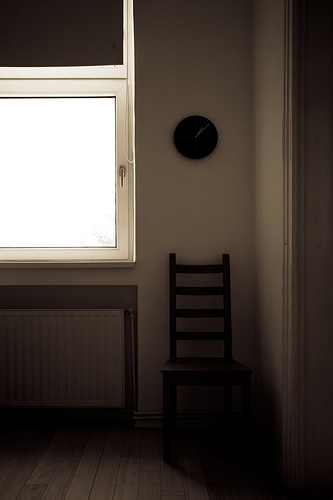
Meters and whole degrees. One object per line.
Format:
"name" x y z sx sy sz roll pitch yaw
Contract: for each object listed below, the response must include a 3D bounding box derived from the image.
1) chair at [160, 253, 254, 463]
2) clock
"chair" 0.192 0.481 2.144 0.394 0.921 0.547 0 1 6
"clock" 0.146 -0.610 2.379 0.156 0.239 0.014 1 -2 -6
